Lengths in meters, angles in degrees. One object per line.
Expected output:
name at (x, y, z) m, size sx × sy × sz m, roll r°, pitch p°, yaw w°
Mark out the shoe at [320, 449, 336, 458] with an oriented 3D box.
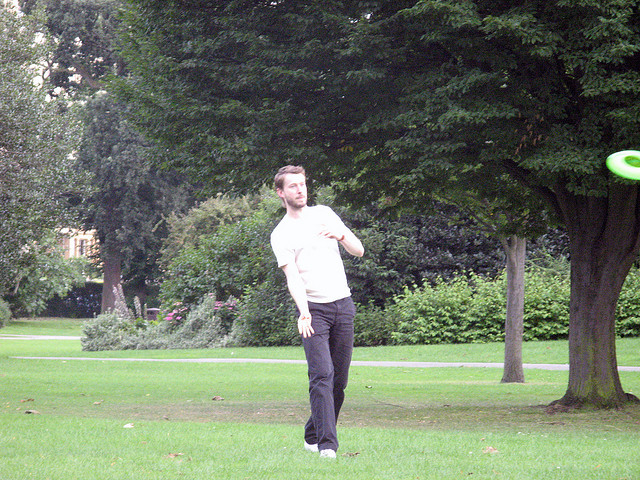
shoe at (0.132, 3.755, 21.679) m, size 0.254 × 0.142 × 0.060 m, roll -2°, pitch -4°, yaw 0°
